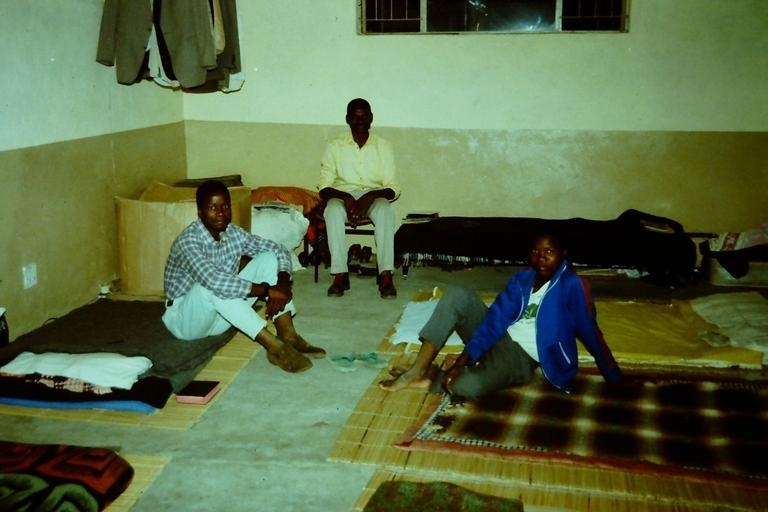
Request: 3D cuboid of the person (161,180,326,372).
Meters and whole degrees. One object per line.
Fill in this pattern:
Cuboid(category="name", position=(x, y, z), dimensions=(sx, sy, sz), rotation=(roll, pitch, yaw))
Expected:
Cuboid(category="person", position=(-1.011, 0.113, 4.779), dimensions=(1.248, 1.167, 0.919), rotation=(14, 20, 23))

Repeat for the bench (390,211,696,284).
Cuboid(category="bench", position=(1.662, -0.144, 6.602), dimensions=(2.095, 0.544, 1.156), rotation=(2, 9, 10))

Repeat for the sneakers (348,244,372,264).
Cuboid(category="sneakers", position=(-0.265, -0.019, 6.934), dimensions=(0.154, 0.123, 0.256), rotation=(1, 6, 2))

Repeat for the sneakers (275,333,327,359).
Cuboid(category="sneakers", position=(-0.589, 0.670, 4.797), dimensions=(0.406, 0.153, 0.143), rotation=(18, 12, 0))

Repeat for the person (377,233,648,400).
Cuboid(category="person", position=(0.803, 0.328, 4.503), dimensions=(1.484, 1.013, 0.814), rotation=(-1, 20, -14))

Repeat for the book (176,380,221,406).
Cuboid(category="book", position=(-1.247, 0.904, 4.384), dimensions=(0.233, 0.082, 0.206), rotation=(2, 13, 9))

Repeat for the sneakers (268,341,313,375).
Cuboid(category="sneakers", position=(-0.670, 0.701, 4.659), dimensions=(0.284, 0.119, 0.193), rotation=(24, 43, 25))

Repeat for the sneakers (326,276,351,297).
Cuboid(category="sneakers", position=(-0.420, 0.253, 6.059), dimensions=(0.135, 0.184, 0.296), rotation=(5, 14, 21))
